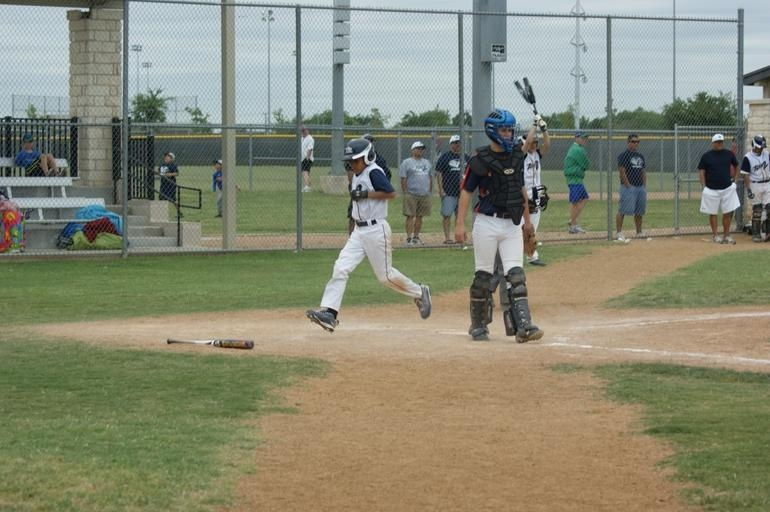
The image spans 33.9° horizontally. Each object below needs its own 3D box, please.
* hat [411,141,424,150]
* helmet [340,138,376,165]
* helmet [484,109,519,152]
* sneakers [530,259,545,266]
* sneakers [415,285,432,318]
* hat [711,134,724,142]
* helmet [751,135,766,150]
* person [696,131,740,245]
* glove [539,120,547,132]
[{"bbox_3d":[0.610,-2.211,25.004,0.201,0.168,0.276,-1,-9,-31],"label":"hat"},{"bbox_3d":[-0.376,-1.431,17.414,0.418,0.325,0.324,-25,23,-29],"label":"helmet"},{"bbox_3d":[1.558,-1.691,17.048,0.398,0.566,0.382,-1,3,7],"label":"helmet"},{"bbox_3d":[2.737,0.133,22.672,0.320,0.138,0.112,-1,2,39],"label":"sneakers"},{"bbox_3d":[0.549,0.611,17.703,0.221,0.499,0.183,-4,-17,-11],"label":"sneakers"},{"bbox_3d":[6.594,-2.335,25.140,0.204,0.141,0.284,-2,0,3],"label":"hat"},{"bbox_3d":[7.549,-2.306,25.462,0.259,0.298,0.354,2,21,-3],"label":"helmet"},{"bbox_3d":[6.783,-1.370,25.777,0.777,2.239,1.552,0,3,15],"label":"person"},{"bbox_3d":[2.333,-1.920,18.736,0.128,0.064,0.176,25,1,15],"label":"glove"}]
